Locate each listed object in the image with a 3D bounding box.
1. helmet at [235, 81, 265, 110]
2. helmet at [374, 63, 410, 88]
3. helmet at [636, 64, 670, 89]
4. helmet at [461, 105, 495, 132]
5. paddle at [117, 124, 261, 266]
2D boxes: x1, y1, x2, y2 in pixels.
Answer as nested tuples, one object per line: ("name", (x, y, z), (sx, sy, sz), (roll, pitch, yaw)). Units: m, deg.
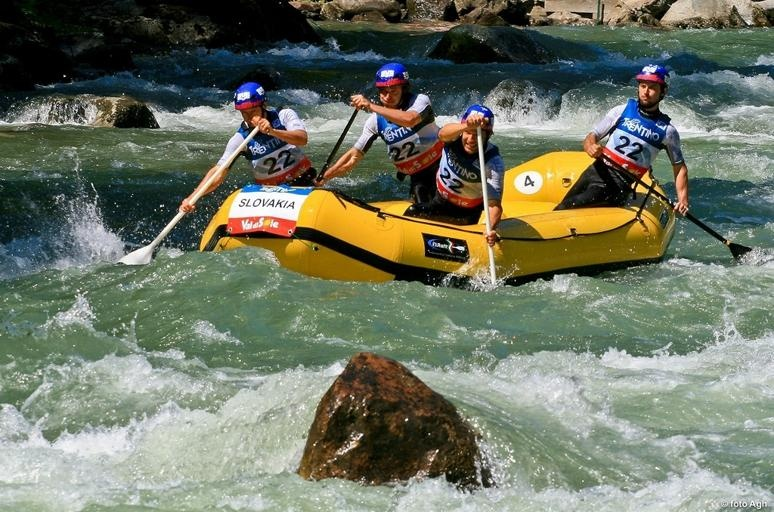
("helmet", (-1.693, -1.953, 11.751), (0.348, 0.330, 0.297), (5, 17, 4))
("helmet", (0.060, -2.246, 11.903), (0.319, 0.263, 0.395), (1, 24, 24))
("helmet", (3.494, -2.342, 12.341), (0.447, 0.184, 0.308), (20, -6, -38))
("helmet", (1.094, -1.668, 11.542), (0.351, 0.303, 0.548), (4, 16, 2))
("paddle", (-2.762, -0.790, 13.208), (0.485, 3.461, 0.242), (52, 1, -43))
